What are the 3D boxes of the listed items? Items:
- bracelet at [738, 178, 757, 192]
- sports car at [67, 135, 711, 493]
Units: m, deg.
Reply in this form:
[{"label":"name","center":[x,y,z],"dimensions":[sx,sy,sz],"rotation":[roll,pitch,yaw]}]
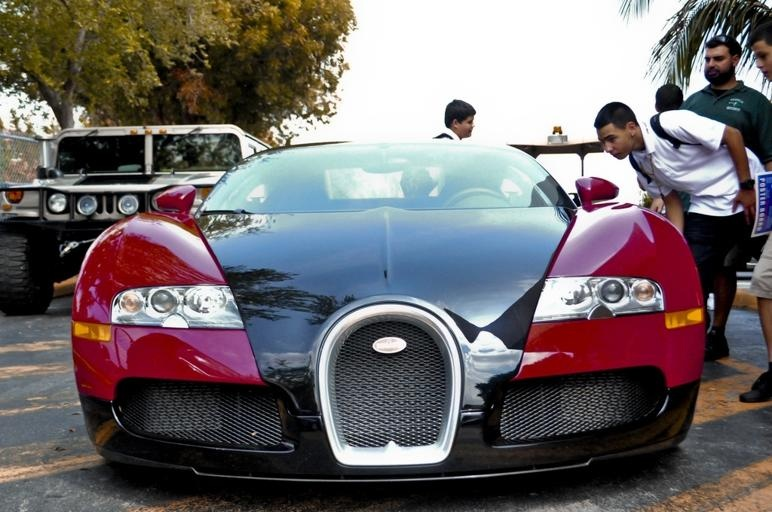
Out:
[{"label":"bracelet","center":[2.521,-0.489,4.504],"dimensions":[0.107,0.099,0.068],"rotation":[17,-13,14]},{"label":"sports car","center":[-0.289,0.007,4.670],"dimensions":[3.037,1.300,4.336],"rotation":[-1,6,-7]}]
